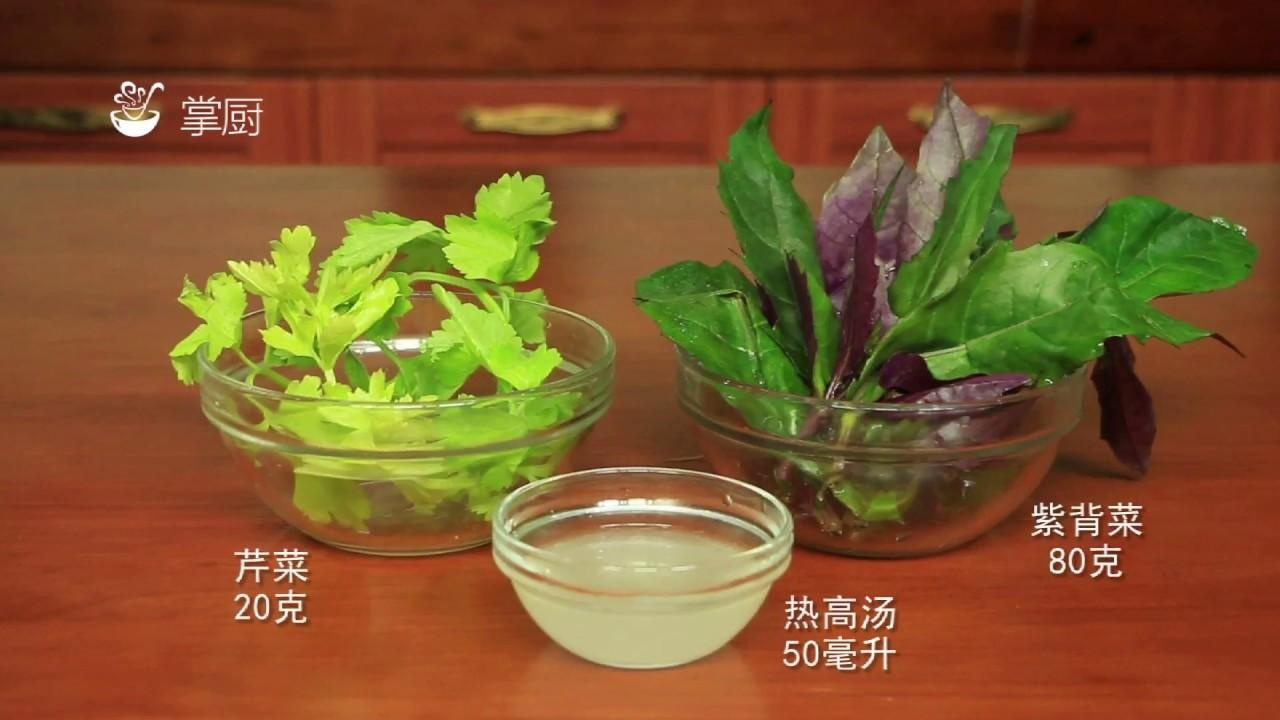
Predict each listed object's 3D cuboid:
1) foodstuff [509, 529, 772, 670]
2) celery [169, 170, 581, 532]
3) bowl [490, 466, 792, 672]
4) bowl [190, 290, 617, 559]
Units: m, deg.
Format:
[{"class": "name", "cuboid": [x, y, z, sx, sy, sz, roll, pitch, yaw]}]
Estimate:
[{"class": "foodstuff", "cuboid": [0.002, 0.171, 0.805, 0.210, 0.096, 0.098, 4, 29, 7]}, {"class": "celery", "cuboid": [-0.198, -0.029, 0.955, 0.300, 0.314, 0.283, -6, 9, -10]}, {"class": "bowl", "cuboid": [0.000, 0.133, 0.919, 0.324, 0.133, 0.270, 2, 12, 4]}, {"class": "bowl", "cuboid": [-0.187, 0.080, 0.873, 0.327, 0.149, 0.099, 0, 30, -2]}]
